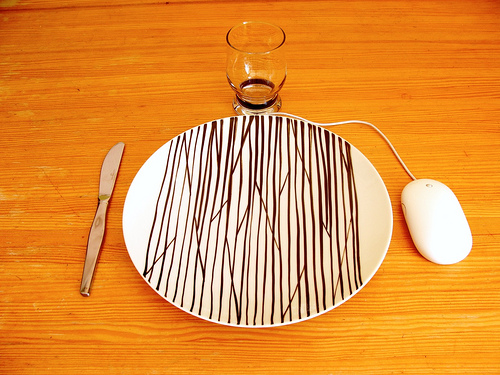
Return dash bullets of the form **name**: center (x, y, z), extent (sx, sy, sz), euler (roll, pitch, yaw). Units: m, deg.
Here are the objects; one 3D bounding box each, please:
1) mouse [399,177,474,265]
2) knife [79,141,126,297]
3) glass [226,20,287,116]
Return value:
- **mouse**: center (0.352, 0.050, 1.193), extent (0.124, 0.050, 0.203), euler (-4, 53, -12)
- **knife**: center (-0.285, 0.069, 1.239), extent (0.039, 0.297, 0.015), euler (6, -30, 6)
- **glass**: center (0.014, -0.244, 1.362), extent (0.154, 0.188, 0.159), euler (-2, 17, -10)
